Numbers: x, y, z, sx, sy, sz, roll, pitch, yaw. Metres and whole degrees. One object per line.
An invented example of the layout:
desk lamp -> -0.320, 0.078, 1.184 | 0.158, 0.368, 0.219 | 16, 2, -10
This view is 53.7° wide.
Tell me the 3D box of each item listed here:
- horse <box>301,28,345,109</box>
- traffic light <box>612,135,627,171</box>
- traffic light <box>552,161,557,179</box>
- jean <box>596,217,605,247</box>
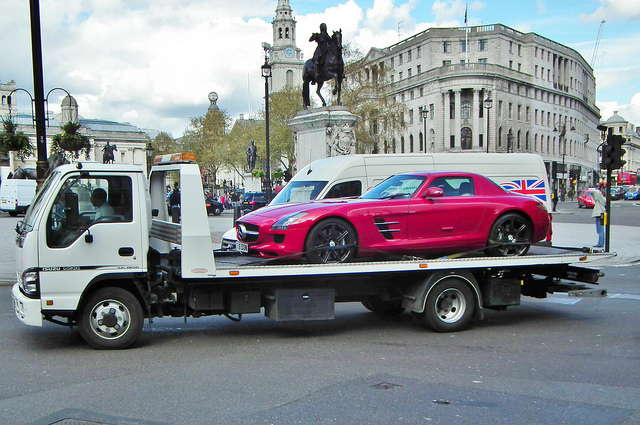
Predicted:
horse -> 0.164, -6.240, 28.157 | 1.777, 3.197, 3.992 | 0, 7, -4
traffic light -> 8.687, -1.741, 18.328 | 0.365, 0.986, 1.253 | 4, 8, 25
traffic light -> 19.161, -3.437, 51.535 | 0.240, 1.404, 3.115 | 3, 7, 18
jean -> 9.526, 0.636, 21.375 | 0.218, 1.043, 0.959 | 3, 8, 22
